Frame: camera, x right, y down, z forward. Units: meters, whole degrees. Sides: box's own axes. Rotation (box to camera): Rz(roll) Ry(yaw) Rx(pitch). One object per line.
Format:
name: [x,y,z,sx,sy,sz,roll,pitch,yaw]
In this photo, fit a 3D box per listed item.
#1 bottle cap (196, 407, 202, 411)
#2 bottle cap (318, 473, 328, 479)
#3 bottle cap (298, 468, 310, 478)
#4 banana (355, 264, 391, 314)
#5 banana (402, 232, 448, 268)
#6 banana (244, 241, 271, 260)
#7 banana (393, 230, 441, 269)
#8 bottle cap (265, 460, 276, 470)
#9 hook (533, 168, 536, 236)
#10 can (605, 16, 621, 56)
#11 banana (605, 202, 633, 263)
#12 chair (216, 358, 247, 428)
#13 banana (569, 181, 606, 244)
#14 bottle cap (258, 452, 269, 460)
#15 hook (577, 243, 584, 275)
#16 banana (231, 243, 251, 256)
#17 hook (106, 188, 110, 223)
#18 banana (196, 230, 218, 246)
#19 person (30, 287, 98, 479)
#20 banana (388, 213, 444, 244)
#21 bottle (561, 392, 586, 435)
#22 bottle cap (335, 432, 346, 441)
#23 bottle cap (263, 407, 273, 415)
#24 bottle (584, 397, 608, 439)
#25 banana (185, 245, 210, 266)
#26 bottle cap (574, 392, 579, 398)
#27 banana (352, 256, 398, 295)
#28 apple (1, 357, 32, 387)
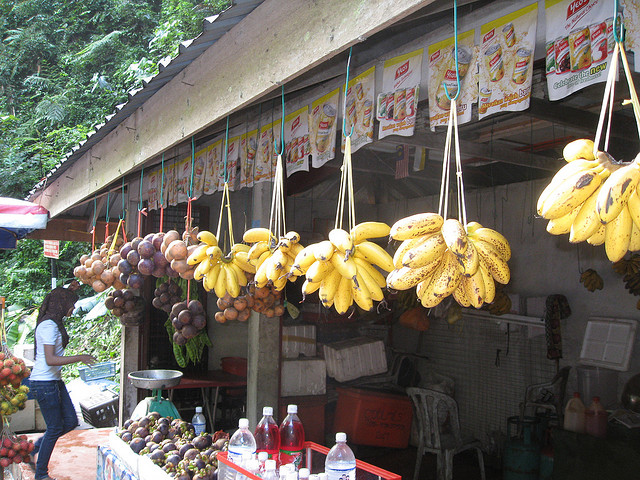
bottle cap: [-1.153,1.584,5.853,0.051,0.044,0.055,-1,-7,24]
bottle cap: [0.020,1.584,4.194,0.034,0.036,0.038,4,-14,-9]
bottle cap: [-0.115,1.562,4.212,0.055,0.059,0.061,5,-7,-6]
banana: [0.346,0.288,3.963,0.146,0.220,0.361,-1,-10,22]
banana: [0.630,0.096,3.611,0.421,0.167,0.151,-20,5,-41]
banana: [-0.443,0.082,4.427,0.132,0.043,0.047,-37,31,-13]
banana: [0.564,0.053,3.542,0.070,0.213,0.057,40,-3,-19]
bottle cap: [-0.343,1.524,4.236,0.071,0.067,0.094,4,-10,-8]
hook: [3.056,-0.502,8.843,0.043,0.852,0.258,-1,-9,18]
can: [2.080,-1.435,4.413,0.114,0.252,0.126,-9,18,0]
banana: [1.569,-0.041,3.301,0.111,0.311,0.130,9,7,35]
chair: [-1.250,2.185,8.872,0.370,0.982,0.747,3,-9,-9]
banana: [1.388,-0.141,3.230,0.160,0.317,0.110,2,5,12]
bottle cap: [-0.405,1.502,4.349,0.063,0.053,0.070,4,-10,-8]
hook: [3.513,0.264,8.372,0.063,0.389,0.102,4,-9,-16]
banana: [-0.590,0.073,4.614,0.128,0.076,0.069,-2,-18,-1]
hook: [-2.587,-0.415,7.538,0.012,0.259,0.356,5,-10,-18]
banana: [-0.847,-0.018,4.663,0.078,0.077,0.259,-13,-11,12]
person: [-3.099,1.600,7.170,0.538,2.103,0.562,3,-8,-9]
banana: [0.568,-0.072,3.609,0.259,0.156,0.097,-10,13,4]
bottle: [2.605,1.740,6.307,0.300,0.391,0.245,11,-12,-44]
bottle cap: [0.140,1.350,4.324,0.060,0.053,0.068,2,-9,-1]
bottle cap: [-0.400,1.301,4.705,0.083,0.066,0.092,3,-2,-9]
bottle: [2.723,1.740,6.135,0.208,0.383,0.244,-2,-10,25]
banana: [-0.894,0.116,4.565,0.065,0.198,0.108,17,-34,55]
bottle cap: [2.611,1.562,6.305,0.050,0.064,0.056,0,-9,0]
banana: [0.343,0.217,3.970,0.172,0.238,0.248,-2,3,-21]
apple: [-3.231,1.406,6.528,0.269,0.181,0.198,-34,-13,33]
